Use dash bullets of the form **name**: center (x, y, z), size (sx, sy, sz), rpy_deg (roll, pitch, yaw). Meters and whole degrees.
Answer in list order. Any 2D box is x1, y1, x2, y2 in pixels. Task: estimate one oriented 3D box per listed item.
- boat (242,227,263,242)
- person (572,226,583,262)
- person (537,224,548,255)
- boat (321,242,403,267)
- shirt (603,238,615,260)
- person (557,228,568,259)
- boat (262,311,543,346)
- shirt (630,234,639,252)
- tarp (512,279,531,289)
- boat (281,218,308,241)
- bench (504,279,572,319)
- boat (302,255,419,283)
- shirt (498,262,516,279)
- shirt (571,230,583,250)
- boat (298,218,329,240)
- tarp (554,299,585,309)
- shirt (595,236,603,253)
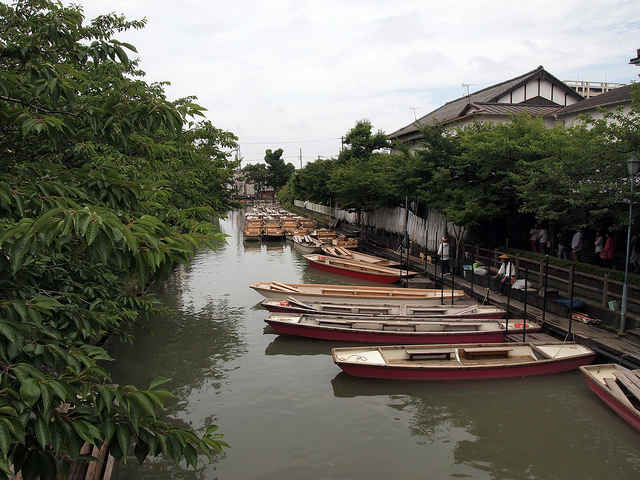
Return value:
- **boat**: center (-6.161, -0.320, 44.067), size (1.446, 1.041, 1.299), rpy_deg (-4, 9, -10)
- **person**: center (10.977, 0.239, 20.687), size (0.336, 1.492, 1.199), rpy_deg (2, 11, 29)
- **person**: center (10.211, 0.065, 22.216), size (0.346, 1.166, 0.668), rpy_deg (1, 11, 23)
- **boat**: center (2.412, 1.045, 31.523), size (1.636, 0.674, 5.444), rpy_deg (-3, 10, -30)
- **shirt**: center (11.574, 0.356, 19.408), size (0.282, 0.811, 0.319), rpy_deg (0, 11, 20)
- **person**: center (10.673, 0.201, 21.352), size (0.302, 1.256, 0.855), rpy_deg (2, 11, 26)
- **boat**: center (2.692, 3.249, 17.388), size (9.053, 0.906, 1.628), rpy_deg (-1, 9, 6)
- **shirt**: center (12.354, 0.124, 19.050), size (0.292, 0.749, 1.073), rpy_deg (3, 11, 33)
- **tarp**: center (8.134, 1.845, 19.849), size (0.508, 0.144, 0.471), rpy_deg (-6, 7, -31)
- **boat**: center (-2.769, -1.159, 47.728), size (1.411, 0.714, 5.383), rpy_deg (-1, 16, -5)
- **bench**: center (8.718, 2.292, 19.015), size (1.068, 0.443, 2.523), rpy_deg (-12, 17, -25)
- **boat**: center (2.169, 1.689, 28.023), size (8.473, 0.737, 1.844), rpy_deg (7, 15, 31)
- **shirt**: center (7.842, 1.283, 20.300), size (0.642, 0.759, 0.979), rpy_deg (3, -2, -37)
- **shirt**: center (10.807, 0.017, 20.370), size (0.344, 0.811, 0.355), rpy_deg (0, 11, 20)
- **boat**: center (-1.076, -1.060, 47.253), size (1.443, 0.937, 5.726), rpy_deg (0, 14, -6)
- **tarp**: center (9.151, 2.341, 17.806), size (0.844, 0.287, 0.800), rpy_deg (-3, 8, -6)
- **shirt**: center (11.862, 0.214, 20.574), size (0.244, 0.707, 0.496), rpy_deg (2, 11, 28)
